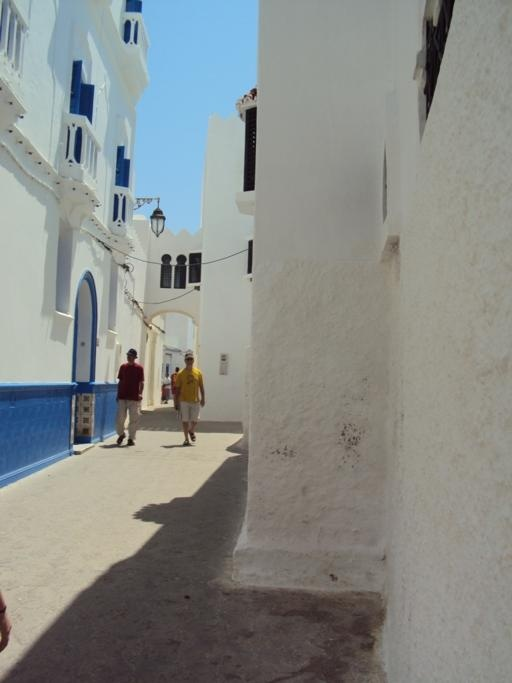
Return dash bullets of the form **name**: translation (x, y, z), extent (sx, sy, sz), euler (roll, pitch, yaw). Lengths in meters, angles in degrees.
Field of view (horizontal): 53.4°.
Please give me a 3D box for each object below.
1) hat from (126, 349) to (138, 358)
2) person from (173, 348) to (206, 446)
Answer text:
- **hat**: translation (-2.492, 0.273, 10.228), extent (0.189, 0.116, 0.186), euler (23, -8, -32)
- **person**: translation (-1.376, 1.124, 10.466), extent (0.509, 2.095, 0.591), euler (-2, 14, -12)
